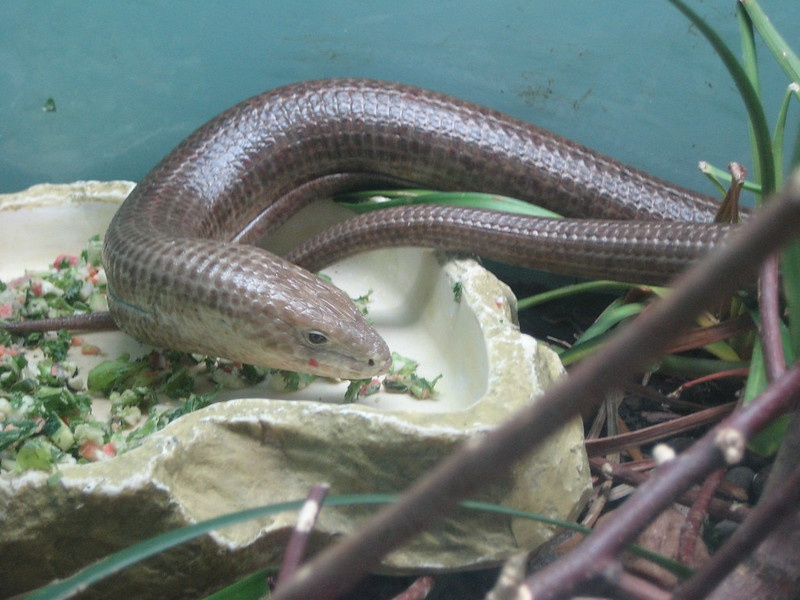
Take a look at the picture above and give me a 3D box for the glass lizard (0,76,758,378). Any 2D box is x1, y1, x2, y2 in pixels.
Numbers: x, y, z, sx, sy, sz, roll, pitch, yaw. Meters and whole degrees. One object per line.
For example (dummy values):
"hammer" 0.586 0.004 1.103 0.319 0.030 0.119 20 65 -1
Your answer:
"glass lizard" -0.074 -0.205 2.217 1.574 0.455 0.886 -3 33 -10
